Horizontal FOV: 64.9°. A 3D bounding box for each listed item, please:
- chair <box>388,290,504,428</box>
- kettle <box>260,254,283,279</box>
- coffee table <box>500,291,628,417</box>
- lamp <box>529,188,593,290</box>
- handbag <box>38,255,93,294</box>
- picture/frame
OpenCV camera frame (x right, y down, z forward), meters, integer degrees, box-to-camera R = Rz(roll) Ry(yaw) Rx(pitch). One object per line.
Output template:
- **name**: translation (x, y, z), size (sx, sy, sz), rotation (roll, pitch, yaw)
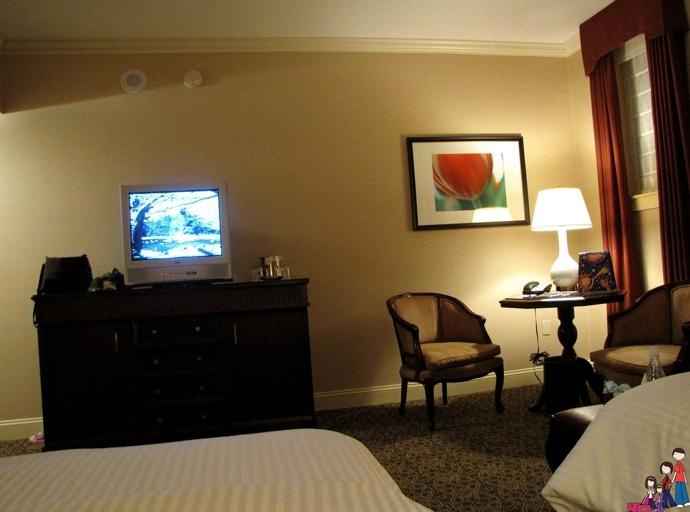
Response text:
- **chair**: translation (0.762, 0.827, 4.403), size (0.767, 0.908, 0.862), rotation (-4, 12, -24)
- **kettle**: translation (-0.582, 0.084, 4.266), size (0.188, 0.184, 0.151), rotation (-1, -3, -8)
- **coffee table**: translation (1.716, 0.760, 4.209), size (0.787, 0.873, 0.879), rotation (1, -9, 5)
- **lamp**: translation (1.799, -0.116, 4.469), size (0.448, 0.855, 0.464), rotation (-3, -6, 15)
- **handbag**: translation (-2.059, 0.135, 4.008), size (0.304, 0.318, 0.350), rotation (-12, 6, -43)
- **picture/frame**: translation (1.085, -0.669, 4.972), size (0.765, 0.675, 0.040), rotation (-4, -2, -12)
